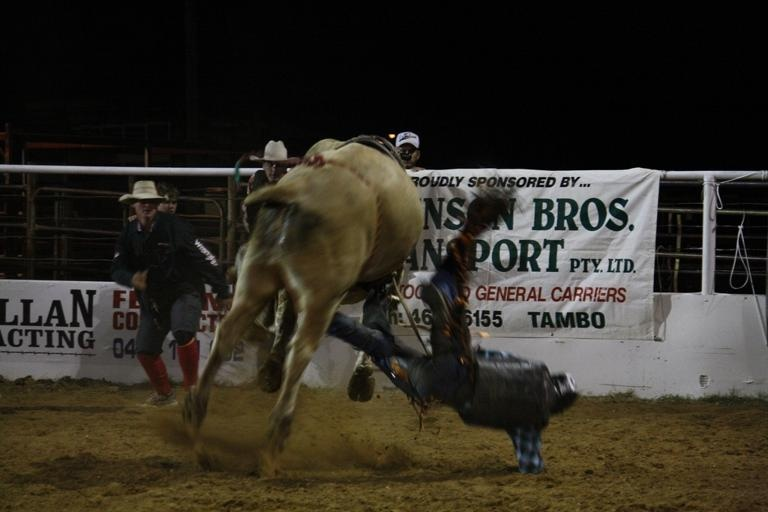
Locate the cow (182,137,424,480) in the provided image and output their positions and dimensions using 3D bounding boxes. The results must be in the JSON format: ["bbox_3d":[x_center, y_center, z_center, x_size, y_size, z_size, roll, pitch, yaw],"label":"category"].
[{"bbox_3d":[-0.917,0.605,13.867,2.699,4.290,0.774,2,-2,1],"label":"cow"}]

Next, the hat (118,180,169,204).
[{"bbox_3d":[-3.543,-0.942,16.244,0.670,0.258,0.726,0,-6,-18],"label":"hat"}]

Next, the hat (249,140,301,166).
[{"bbox_3d":[-1.453,-1.448,14.997,0.559,0.217,0.607,2,-7,-7],"label":"hat"}]

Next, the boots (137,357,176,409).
[{"bbox_3d":[-3.196,1.780,15.724,0.485,0.486,0.471,2,-1,9],"label":"boots"}]

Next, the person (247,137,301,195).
[{"bbox_3d":[-1.576,-1.262,15.195,0.714,0.337,0.917,-5,-1,1],"label":"person"}]
